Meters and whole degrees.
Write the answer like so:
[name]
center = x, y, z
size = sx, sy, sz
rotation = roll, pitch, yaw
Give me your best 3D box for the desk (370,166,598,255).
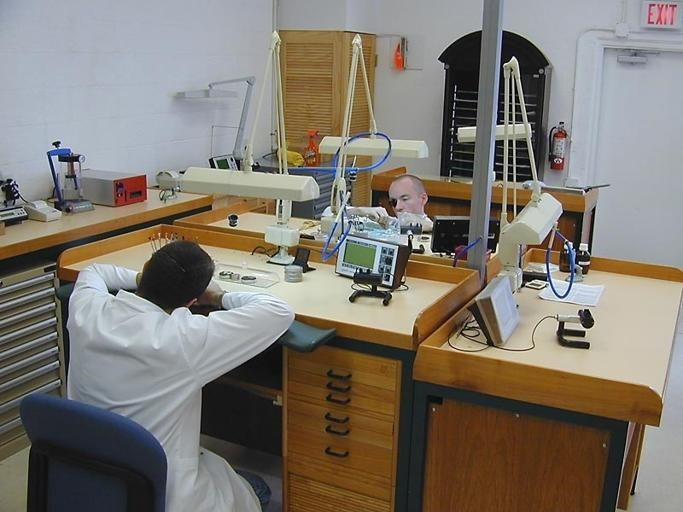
[desk]
center = 0.910, -0.301, 3.556
size = 0.752, 0.532, 0.288
rotation = 8, 16, 27
